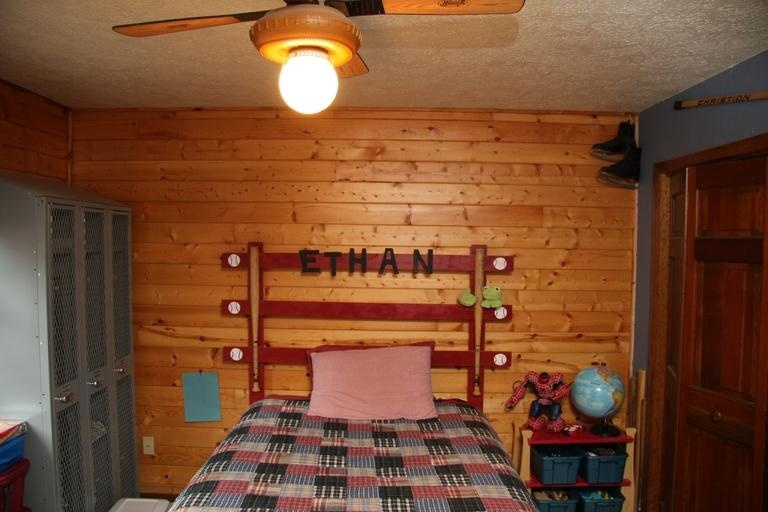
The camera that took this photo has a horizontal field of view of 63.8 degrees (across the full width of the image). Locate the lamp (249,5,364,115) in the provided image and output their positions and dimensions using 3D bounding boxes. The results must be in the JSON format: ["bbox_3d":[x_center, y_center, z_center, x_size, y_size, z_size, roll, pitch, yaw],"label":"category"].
[{"bbox_3d":[-0.467,-1.041,3.477,0.608,0.782,0.292,1,-97,-13],"label":"lamp"}]

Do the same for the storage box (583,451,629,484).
[{"bbox_3d":[1.651,1.575,4.623,0.313,0.297,0.113,1,-95,3],"label":"storage box"}]

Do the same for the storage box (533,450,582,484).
[{"bbox_3d":[1.288,1.586,4.694,0.354,0.170,0.251,6,-85,-1],"label":"storage box"}]

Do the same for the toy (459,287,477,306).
[{"bbox_3d":[0.664,0.324,4.882,0.228,0.054,0.136,-2,-99,3],"label":"toy"}]
